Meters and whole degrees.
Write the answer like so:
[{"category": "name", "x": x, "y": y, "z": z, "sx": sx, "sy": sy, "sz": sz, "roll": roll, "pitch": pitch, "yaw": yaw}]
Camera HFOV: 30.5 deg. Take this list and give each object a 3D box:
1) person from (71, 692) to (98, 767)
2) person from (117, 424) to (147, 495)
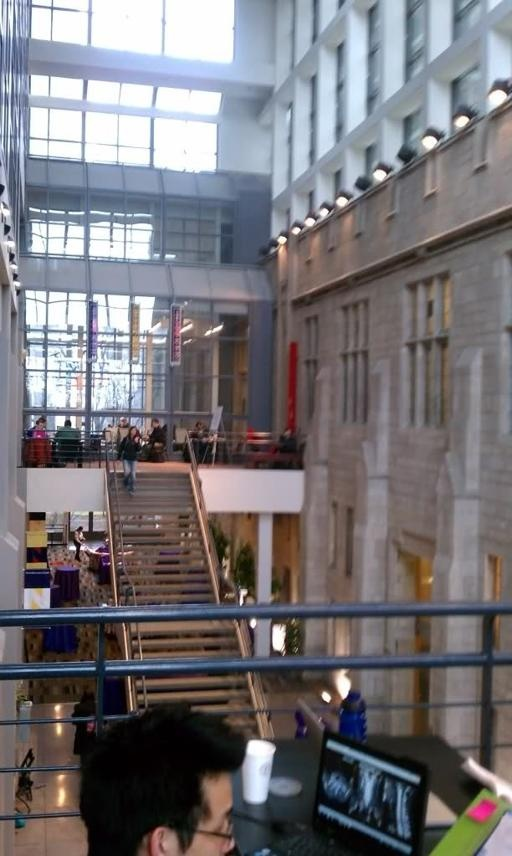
[{"category": "person", "x": -2.180, "y": 3.779, "z": 12.046, "sx": 0.293, "sy": 0.882, "sz": 0.263, "roll": -2, "pitch": 19, "yaw": -26}, {"category": "person", "x": -2.380, "y": 0.575, "z": 17.661, "sx": 0.357, "sy": 1.160, "sz": 1.349, "roll": 0, "pitch": 0, "yaw": -10}]
